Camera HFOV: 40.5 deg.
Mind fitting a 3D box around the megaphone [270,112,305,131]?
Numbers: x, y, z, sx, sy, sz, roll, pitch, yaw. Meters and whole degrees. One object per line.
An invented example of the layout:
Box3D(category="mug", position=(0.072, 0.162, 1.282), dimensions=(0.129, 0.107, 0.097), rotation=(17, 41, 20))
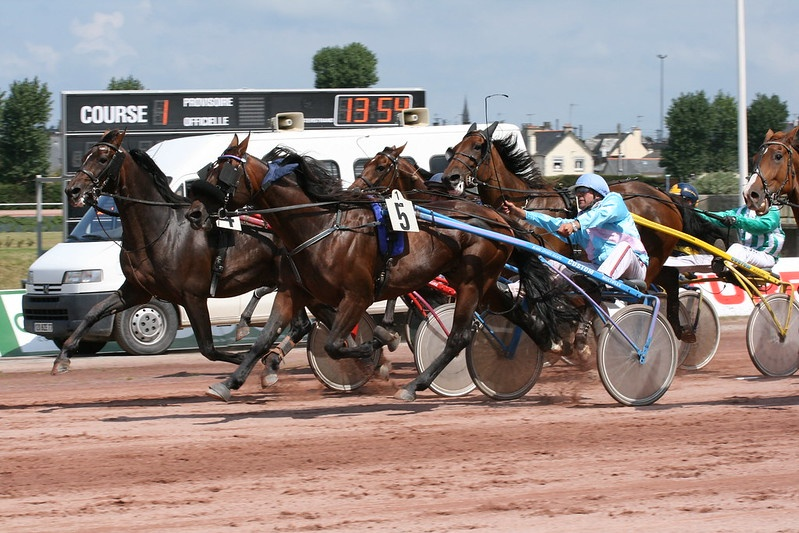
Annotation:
Box3D(category="megaphone", position=(-1.586, -1.957, 14.617), dimensions=(0.340, 0.165, 0.370), rotation=(-3, 5, -26))

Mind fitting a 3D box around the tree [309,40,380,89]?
Box3D(category="tree", position=(-3.460, -12.491, 67.217), dimensions=(3.559, 2.564, 2.993), rotation=(-3, 11, -7))

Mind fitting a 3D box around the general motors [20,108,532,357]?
Box3D(category="general motors", position=(-1.371, -0.404, 15.412), dimensions=(8.010, 2.316, 2.741), rotation=(0, -1, -14))

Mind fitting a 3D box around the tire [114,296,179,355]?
Box3D(category="tire", position=(-3.142, 0.718, 13.342), dimensions=(1.105, 0.818, 0.315), rotation=(-1, 1, -27))

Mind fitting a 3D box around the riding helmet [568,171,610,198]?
Box3D(category="riding helmet", position=(1.868, -0.792, 10.537), dimensions=(0.332, 0.139, 0.218), rotation=(13, -13, -23))

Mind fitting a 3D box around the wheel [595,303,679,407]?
Box3D(category="wheel", position=(2.289, 0.895, 10.549), dimensions=(1.122, 0.850, 0.201), rotation=(14, -11, -25))
